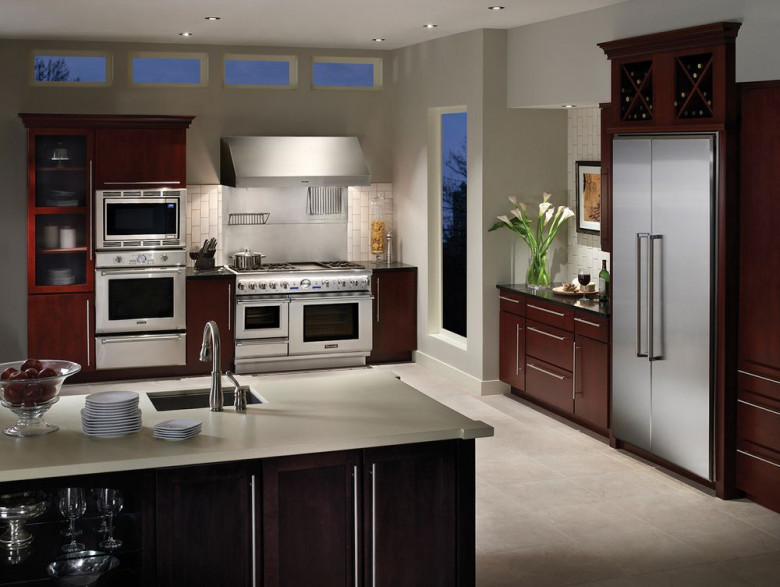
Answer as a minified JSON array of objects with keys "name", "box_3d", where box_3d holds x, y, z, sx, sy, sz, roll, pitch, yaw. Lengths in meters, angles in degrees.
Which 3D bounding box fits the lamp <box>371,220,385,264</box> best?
[{"name":"lamp","box_3d":[-0.164,-0.727,8.434,0.217,0.522,0.176,-1,7,-11]}]

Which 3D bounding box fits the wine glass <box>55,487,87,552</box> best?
[{"name":"wine glass","box_3d":[-1.319,0.932,2.553,0.104,0.339,0.156,-3,8,-30]}]

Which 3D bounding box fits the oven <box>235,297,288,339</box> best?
[{"name":"oven","box_3d":[-1.621,0.313,7.596,0.677,0.502,0.501,-1,0,-29]}]

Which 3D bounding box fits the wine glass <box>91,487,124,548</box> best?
[{"name":"wine glass","box_3d":[-1.174,0.929,2.544,0.145,0.298,0.075,4,8,26]}]

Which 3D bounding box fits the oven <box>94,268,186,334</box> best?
[{"name":"oven","box_3d":[-2.828,0.103,7.387,1.136,0.847,0.801,-2,-3,10]}]

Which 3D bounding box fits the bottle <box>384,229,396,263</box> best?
[{"name":"bottle","box_3d":[-0.005,-0.633,8.370,0.131,0.426,0.350,1,8,-1]}]

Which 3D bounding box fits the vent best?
[{"name":"vent","box_3d":[-1.161,-1.812,8.222,1.772,0.706,1.420,-1,13,-9]}]

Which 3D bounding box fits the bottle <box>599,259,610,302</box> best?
[{"name":"bottle","box_3d":[2.118,-0.138,6.099,0.088,0.359,0.535,3,9,17]}]

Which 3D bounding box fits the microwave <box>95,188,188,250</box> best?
[{"name":"microwave","box_3d":[-2.844,-0.847,6.980,1.106,0.775,0.638,-2,4,-20]}]

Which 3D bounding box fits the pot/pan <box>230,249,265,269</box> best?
[{"name":"pot/pan","box_3d":[-1.826,-0.435,7.820,0.408,0.216,0.541,-1,9,-14]}]

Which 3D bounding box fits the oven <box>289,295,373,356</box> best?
[{"name":"oven","box_3d":[-0.885,0.383,7.998,1.186,0.853,0.825,-1,0,-30]}]

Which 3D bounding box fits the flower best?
[{"name":"flower","box_3d":[1.540,-0.603,6.721,0.947,0.963,0.497,0,7,-6]}]

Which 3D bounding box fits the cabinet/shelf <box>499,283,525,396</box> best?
[{"name":"cabinet/shelf","box_3d":[1.300,0.457,6.631,0.111,1.046,0.439,-2,8,-19]}]

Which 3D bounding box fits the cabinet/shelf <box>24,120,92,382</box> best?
[{"name":"cabinet/shelf","box_3d":[-3.689,-0.540,6.853,0.729,2.729,0.221,1,7,-2]}]

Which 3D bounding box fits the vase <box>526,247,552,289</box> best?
[{"name":"vase","box_3d":[1.633,-0.277,6.759,0.263,0.360,0.482,3,8,15]}]

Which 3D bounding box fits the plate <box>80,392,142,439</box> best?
[{"name":"plate","box_3d":[-1.213,0.505,2.682,0.173,0.123,0.216,0,4,1]}]

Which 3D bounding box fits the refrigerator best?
[{"name":"refrigerator","box_3d":[2.091,0.041,4.724,0.312,2.492,0.968,-1,8,-17]}]

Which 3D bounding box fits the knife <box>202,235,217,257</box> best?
[{"name":"knife","box_3d":[-2.253,-0.584,7.688,0.199,0.212,0.070,2,-15,23]}]

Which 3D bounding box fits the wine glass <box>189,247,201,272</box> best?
[{"name":"wine glass","box_3d":[-2.463,-0.449,7.744,0.124,0.262,0.387,-2,9,-19]}]

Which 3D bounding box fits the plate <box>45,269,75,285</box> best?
[{"name":"plate","box_3d":[-3.703,-0.192,6.907,0.185,0.118,0.191,3,6,19]}]

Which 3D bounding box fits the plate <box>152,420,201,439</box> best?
[{"name":"plate","box_3d":[-0.930,0.585,2.683,0.170,0.054,0.152,4,9,19]}]
